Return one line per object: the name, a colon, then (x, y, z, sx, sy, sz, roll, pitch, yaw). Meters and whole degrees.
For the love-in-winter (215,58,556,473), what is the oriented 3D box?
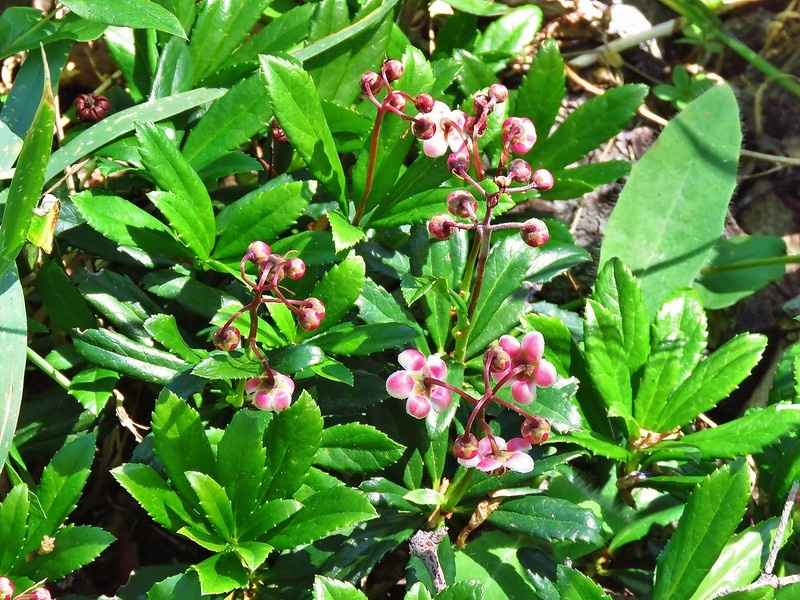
love-in-winter: (0.050, 0.030, 2.188, 0.770, 0.543, 1.137, 23, 80, -4)
